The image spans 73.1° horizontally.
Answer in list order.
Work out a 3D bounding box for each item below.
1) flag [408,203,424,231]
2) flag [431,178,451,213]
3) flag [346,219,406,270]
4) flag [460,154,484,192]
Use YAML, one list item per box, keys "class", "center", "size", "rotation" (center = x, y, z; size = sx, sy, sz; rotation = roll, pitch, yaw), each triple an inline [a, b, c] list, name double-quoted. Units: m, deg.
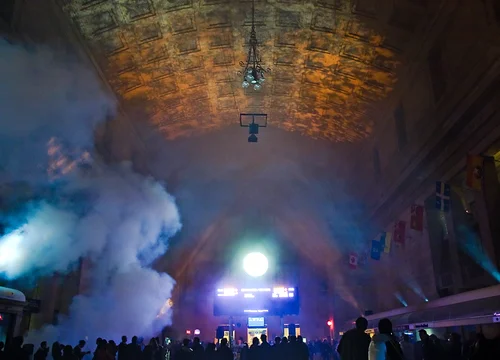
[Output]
- class: "flag"
  center: [10.184, 2.223, 20.315]
  size: [0.751, 1.666, 0.917]
  rotation: [4, -32, -4]
- class: "flag"
  center: [10.266, 0.821, 17.889]
  size: [0.546, 1.880, 0.978]
  rotation: [7, -32, -7]
- class: "flag"
  center: [10.169, 5.045, 26.899]
  size: [5.899, 2.000, 0.582]
  rotation: [-40, -17, 16]
- class: "flag"
  center: [10.031, -0.282, 15.009]
  size: [0.435, 1.487, 1.092]
  rotation: [-5, 12, 0]
